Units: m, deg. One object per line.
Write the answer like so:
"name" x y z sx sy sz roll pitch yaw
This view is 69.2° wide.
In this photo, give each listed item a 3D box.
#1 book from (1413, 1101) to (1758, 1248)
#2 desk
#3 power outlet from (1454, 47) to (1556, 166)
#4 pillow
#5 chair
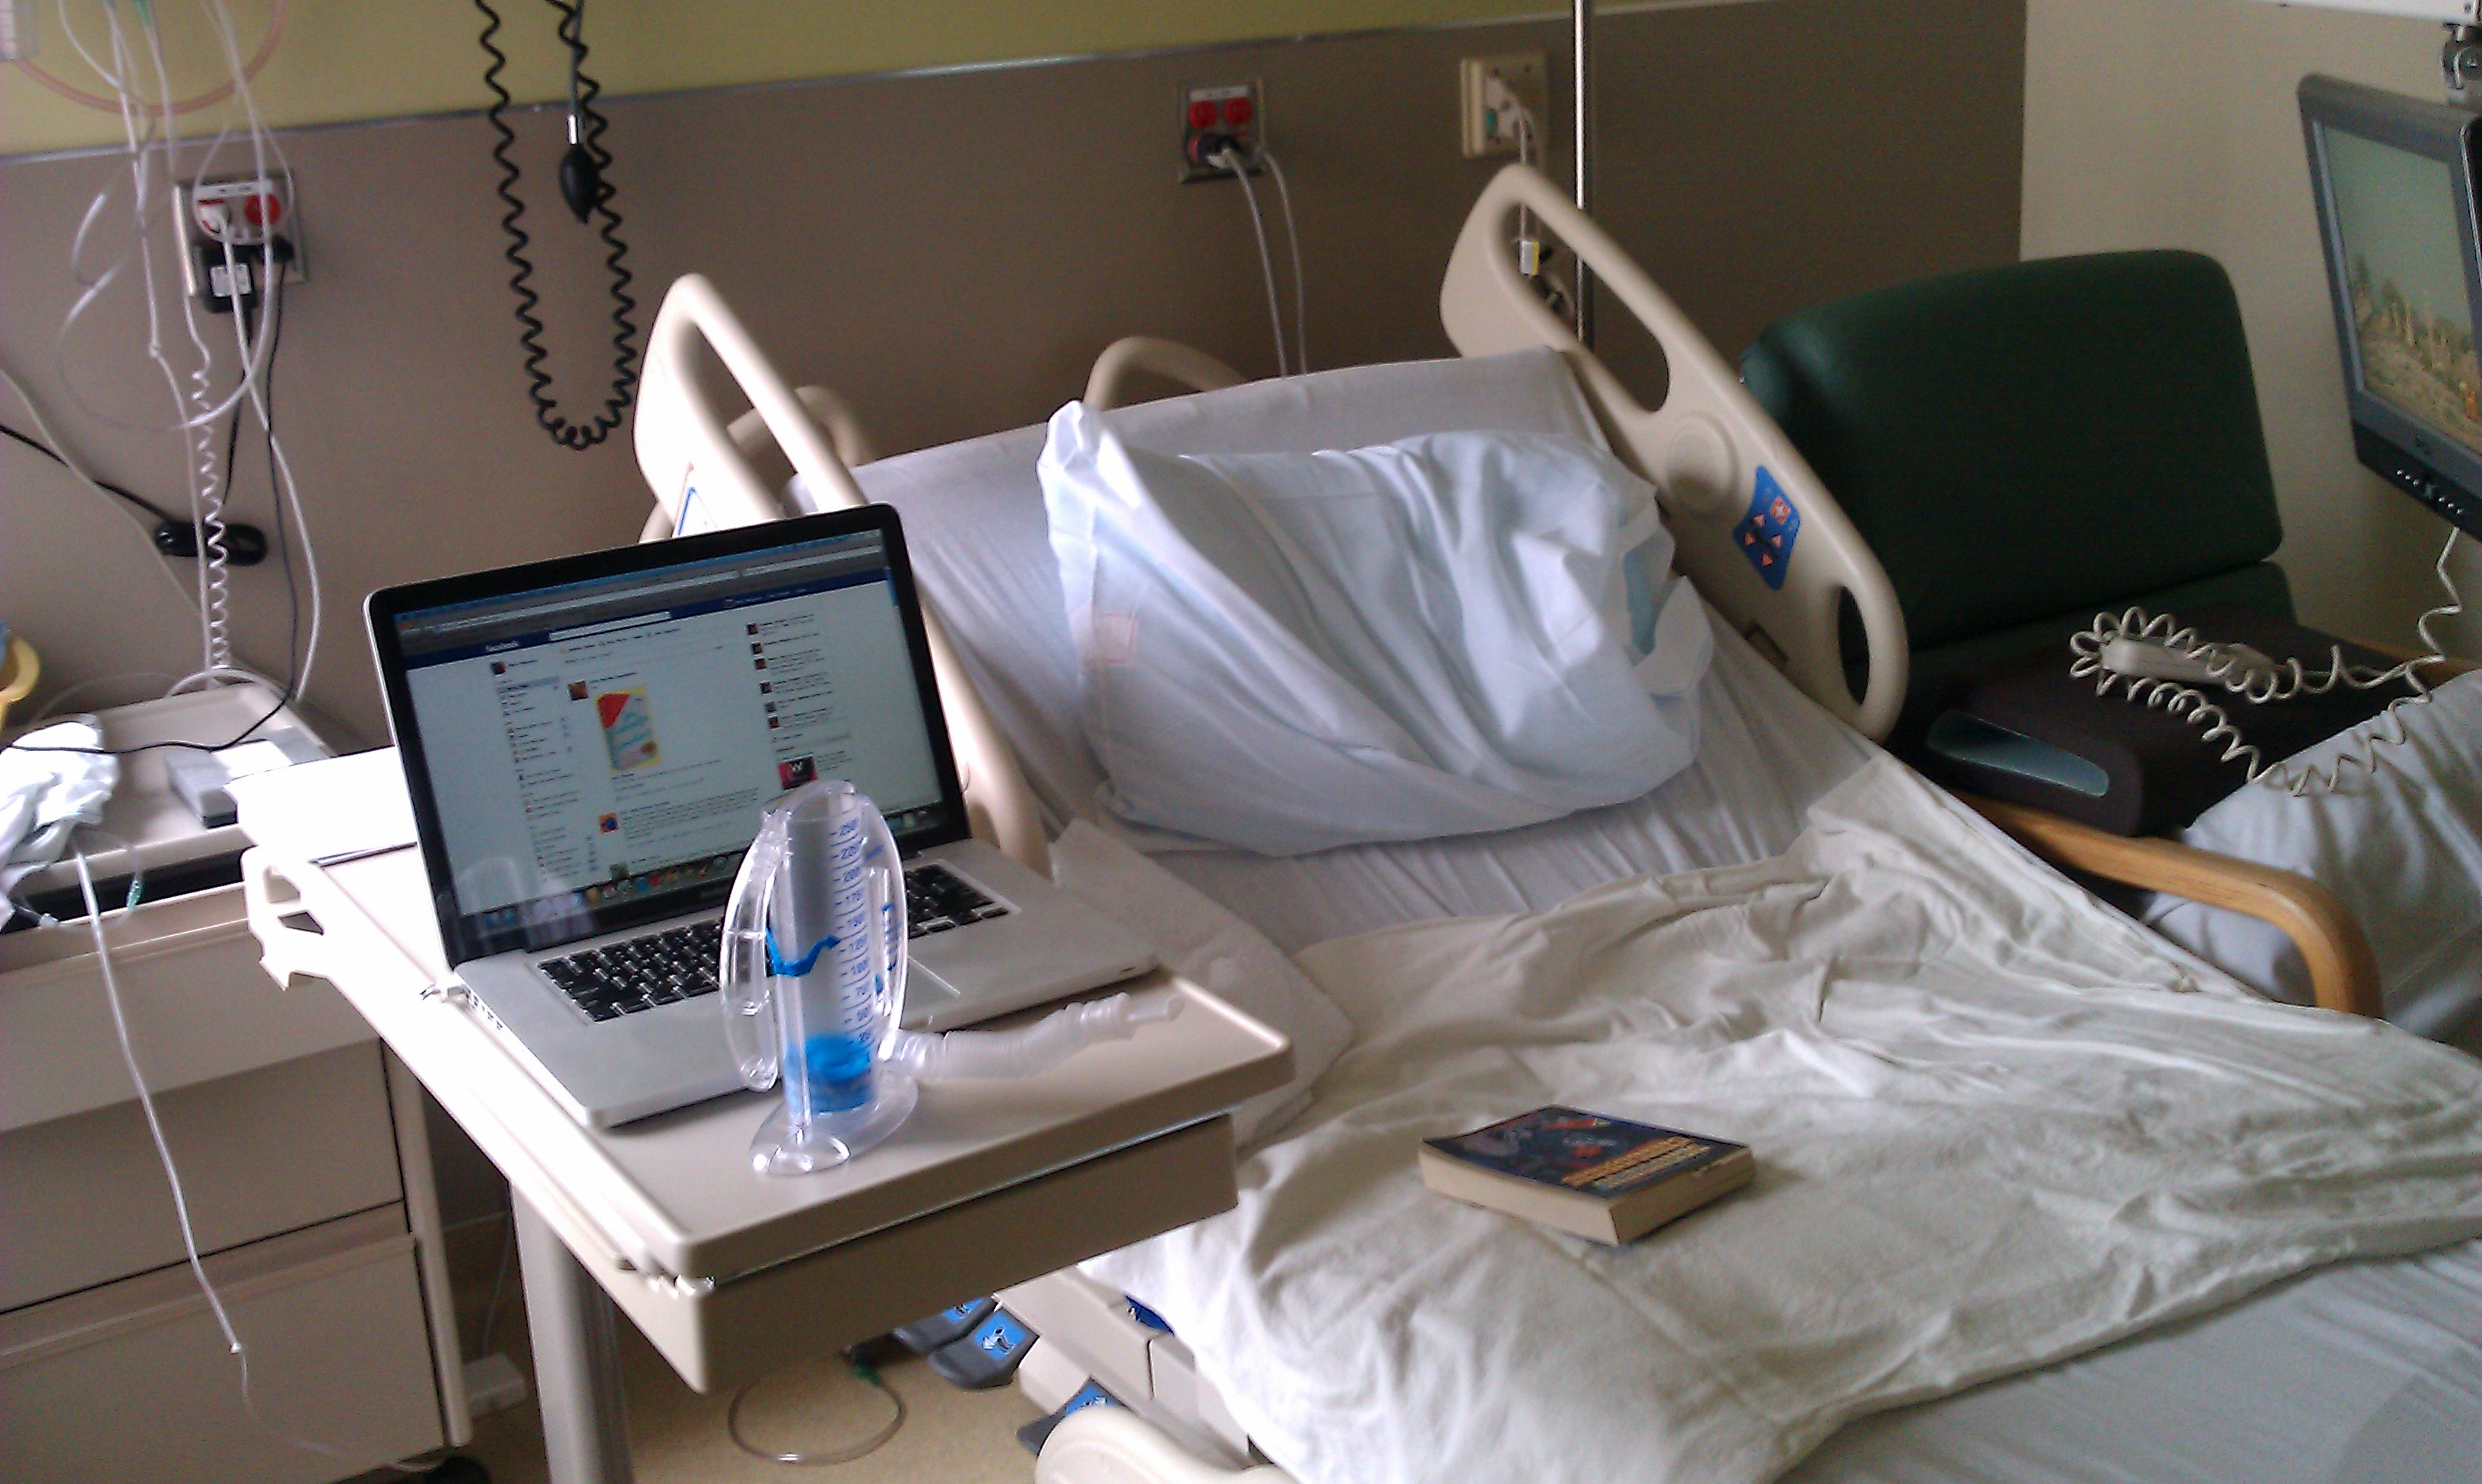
"book" 0.399 0.492 2.079 0.354 0.074 0.198 4 25 25
"desk" -0.581 0.399 2.115 0.509 0.643 0.868 -16 35 -29
"power outlet" 0.547 -1.288 3.635 0.219 0.217 0.097 -14 24 -16
"pillow" 0.221 -0.164 2.680 0.856 0.675 0.265 -1 -23 -12
"chair" 1.548 -0.319 2.990 1.111 0.897 0.969 -10 17 -11
